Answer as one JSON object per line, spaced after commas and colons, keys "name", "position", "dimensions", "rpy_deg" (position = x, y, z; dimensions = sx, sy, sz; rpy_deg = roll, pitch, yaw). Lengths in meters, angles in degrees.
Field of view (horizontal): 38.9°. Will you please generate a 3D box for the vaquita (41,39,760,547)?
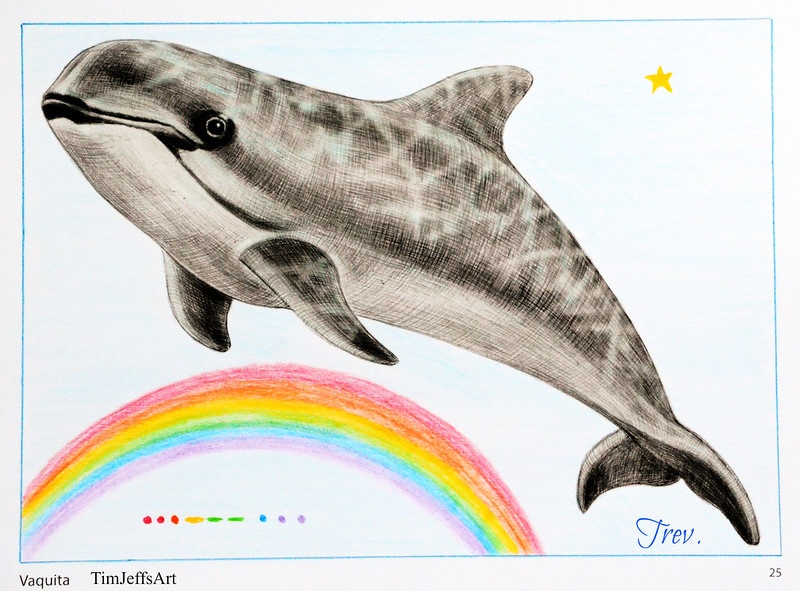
{"name": "vaquita", "position": [0.020, -0.096, 5.122], "dimensions": [3.295, 1.452, 1.226], "rpy_deg": [19, -7, -14]}
